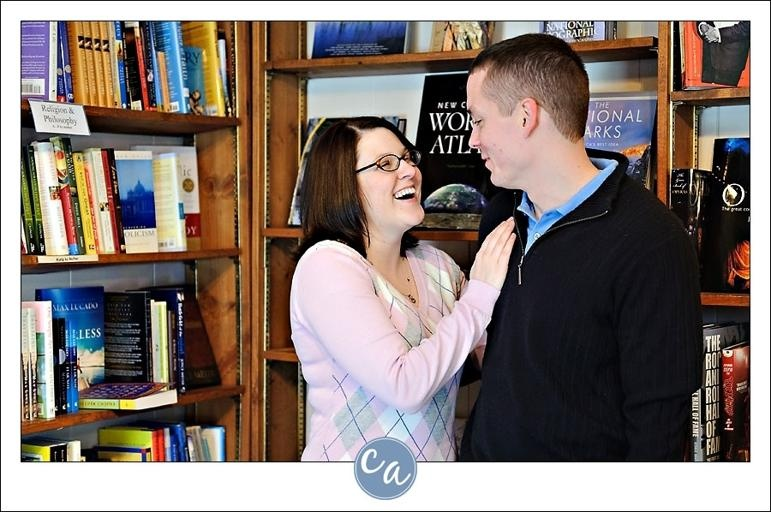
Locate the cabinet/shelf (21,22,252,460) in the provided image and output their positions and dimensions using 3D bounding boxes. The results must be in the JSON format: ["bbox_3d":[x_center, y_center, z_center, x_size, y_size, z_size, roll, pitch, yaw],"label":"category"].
[{"bbox_3d":[-0.883,-0.193,2.571,0.635,1.461,0.169,-6,13,-32],"label":"cabinet/shelf"}]
